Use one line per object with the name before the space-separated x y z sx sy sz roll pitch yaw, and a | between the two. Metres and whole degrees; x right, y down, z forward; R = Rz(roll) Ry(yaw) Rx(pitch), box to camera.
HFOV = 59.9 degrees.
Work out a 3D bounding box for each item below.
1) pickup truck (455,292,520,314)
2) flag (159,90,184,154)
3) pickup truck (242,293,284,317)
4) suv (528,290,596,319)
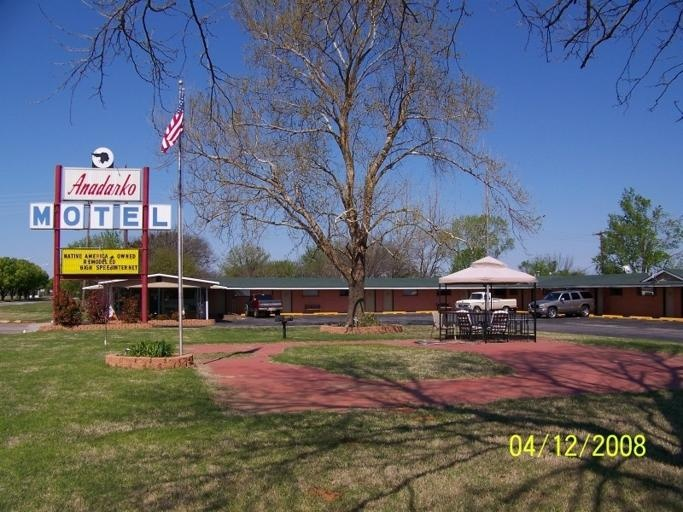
pickup truck | 10.905 3.429 43.260 4.162 1.538 1.946 7 -11 -34
flag | -4.755 -3.719 16.567 0.592 1.768 2.208 0 0 -17
pickup truck | -5.987 3.707 44.362 1.796 1.595 4.058 1 0 -22
suv | 15.756 3.491 41.713 4.349 2.039 2.067 4 -6 -26
